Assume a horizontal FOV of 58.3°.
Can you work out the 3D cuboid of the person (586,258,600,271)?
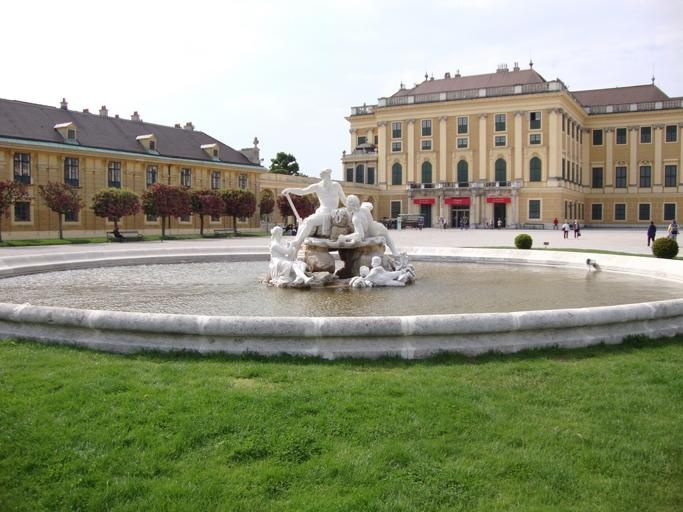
[{"bbox_3d":[6.732,0.210,16.449,0.192,0.328,0.731,-10,-14,40],"label":"person"}]

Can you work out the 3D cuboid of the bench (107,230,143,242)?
[{"bbox_3d":[-14.722,-1.430,41.849,1.026,0.987,2.417,-7,-2,41],"label":"bench"}]

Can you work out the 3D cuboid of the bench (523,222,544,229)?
[{"bbox_3d":[20.396,-3.337,65.329,2.071,0.488,1.218,10,16,31],"label":"bench"}]
